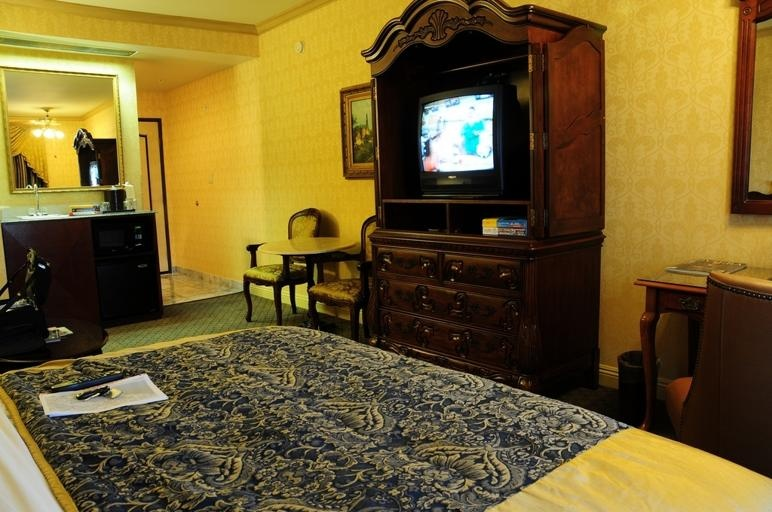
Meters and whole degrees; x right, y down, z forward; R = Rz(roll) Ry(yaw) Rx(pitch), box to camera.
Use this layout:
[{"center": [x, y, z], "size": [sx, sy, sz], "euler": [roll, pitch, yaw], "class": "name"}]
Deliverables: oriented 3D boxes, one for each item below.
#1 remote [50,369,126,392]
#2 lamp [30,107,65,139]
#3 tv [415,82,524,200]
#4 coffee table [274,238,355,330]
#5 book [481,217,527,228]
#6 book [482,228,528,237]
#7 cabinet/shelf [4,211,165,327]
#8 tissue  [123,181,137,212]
[{"center": [-1.252, 0.532, 2.205], "size": [0.201, 0.024, 0.095], "euler": [-6, 7, -40], "class": "remote"}, {"center": [-3.706, -1.427, 5.699], "size": [0.317, 0.274, 0.307], "euler": [-5, 13, -35], "class": "lamp"}, {"center": [0.614, -0.795, 3.705], "size": [0.912, 0.816, 0.533], "euler": [5, 9, 43], "class": "tv"}, {"center": [-0.726, 0.183, 5.040], "size": [0.750, 0.403, 0.712], "euler": [5, 18, 17], "class": "coffee table"}, {"center": [0.770, -0.208, 3.404], "size": [0.299, 0.070, 0.043], "euler": [9, 18, 35], "class": "book"}, {"center": [0.754, -0.147, 3.384], "size": [0.307, 0.063, 0.050], "euler": [11, 19, 38], "class": "book"}, {"center": [-2.981, 0.107, 5.103], "size": [1.273, 1.072, 0.443], "euler": [-7, 8, -41], "class": "cabinet/shelf"}, {"center": [-2.963, -0.687, 6.054], "size": [0.116, 0.297, 0.376], "euler": [-7, 16, -22], "class": "tissue "}]
